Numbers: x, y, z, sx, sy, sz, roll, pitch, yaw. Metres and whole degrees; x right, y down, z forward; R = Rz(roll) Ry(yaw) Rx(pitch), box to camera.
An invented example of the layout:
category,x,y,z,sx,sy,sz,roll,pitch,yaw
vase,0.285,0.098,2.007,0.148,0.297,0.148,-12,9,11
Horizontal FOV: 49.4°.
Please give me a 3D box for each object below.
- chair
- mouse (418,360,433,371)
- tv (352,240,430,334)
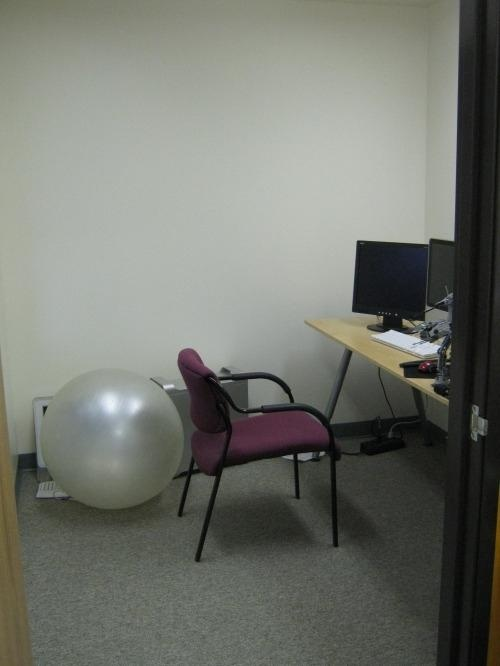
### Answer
category,x,y,z,sx,sy,sz,roll,pitch,yaw
chair,0.025,0.505,2.439,0.693,0.839,0.492,-5,12,-20
mouse,0.729,0.137,2.262,0.038,0.022,0.056,0,32,40
tv,0.798,-0.260,3.065,0.496,0.576,0.206,4,3,39
